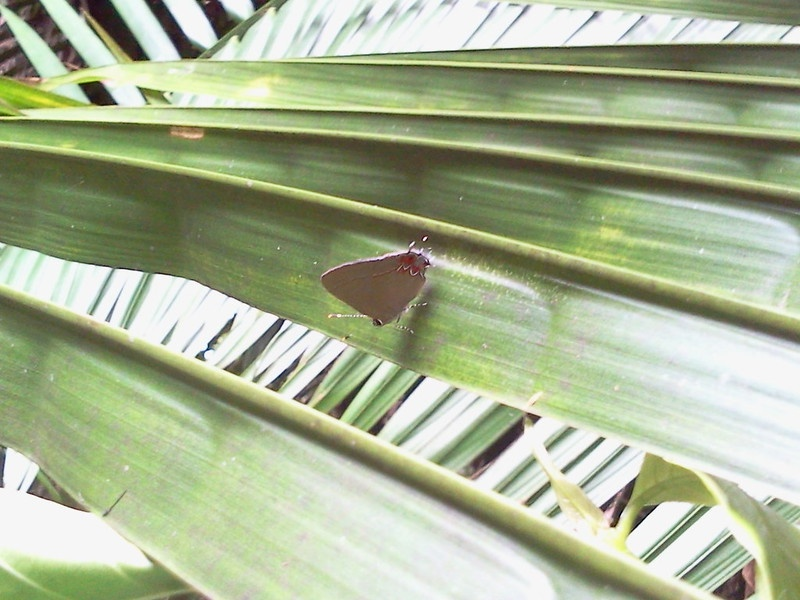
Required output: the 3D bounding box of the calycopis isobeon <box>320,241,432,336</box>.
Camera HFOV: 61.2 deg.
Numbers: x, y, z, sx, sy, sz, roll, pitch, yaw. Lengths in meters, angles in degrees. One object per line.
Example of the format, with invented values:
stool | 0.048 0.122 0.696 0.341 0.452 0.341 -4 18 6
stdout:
calycopis isobeon | -0.024 -0.013 0.513 0.073 0.037 0.065 4 -50 -44
